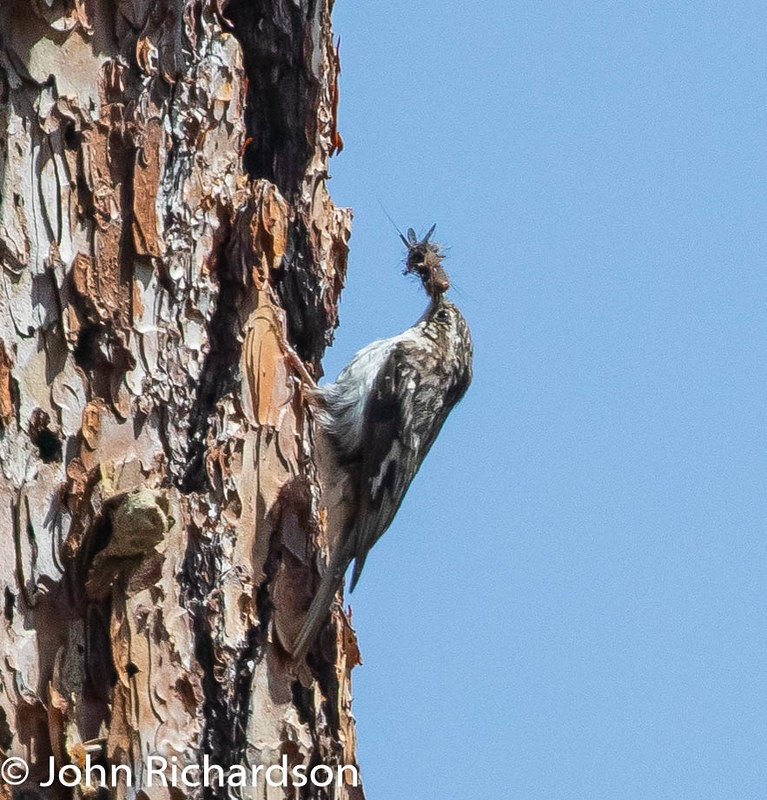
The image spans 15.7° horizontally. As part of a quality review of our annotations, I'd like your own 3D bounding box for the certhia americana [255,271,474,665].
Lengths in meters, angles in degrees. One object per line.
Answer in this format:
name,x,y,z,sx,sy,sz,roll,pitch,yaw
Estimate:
certhia americana,-0.017,0.148,10.029,0.435,1.095,1.639,4,-88,-1
